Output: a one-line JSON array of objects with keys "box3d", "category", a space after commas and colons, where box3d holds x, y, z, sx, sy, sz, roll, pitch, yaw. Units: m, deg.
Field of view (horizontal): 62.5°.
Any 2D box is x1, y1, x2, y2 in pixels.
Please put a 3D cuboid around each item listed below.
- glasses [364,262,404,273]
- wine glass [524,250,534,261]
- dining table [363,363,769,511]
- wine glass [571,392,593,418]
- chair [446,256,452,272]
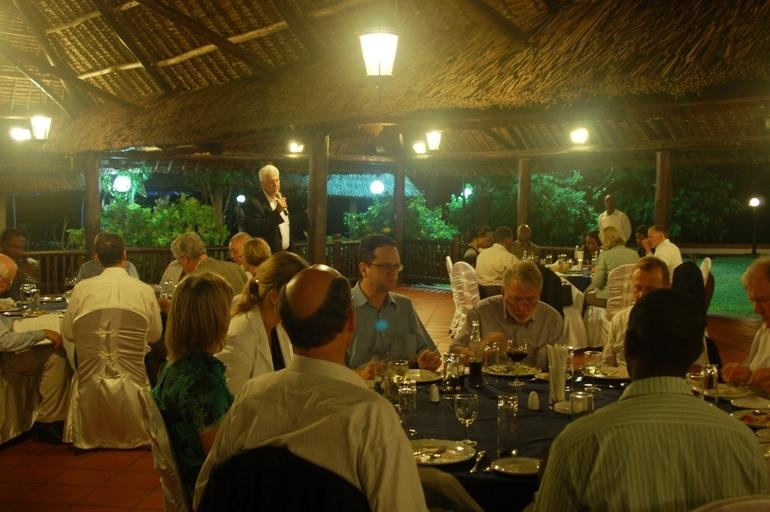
[{"box3d": [0.012, 0.084, 5.065, 0.300, 0.069, 0.139, 0, 4, -21], "category": "glasses"}, {"box3d": [2.455, -0.007, 10.820, 0.177, 0.174, 0.095, 1, -10, -8], "category": "wine glass"}, {"box3d": [0.895, 0.778, 3.259, 0.941, 0.632, 1.780, -1, 4, -27], "category": "dining table"}, {"box3d": [1.150, 0.868, 3.711, 0.129, 0.142, 0.135, -1, 0, -14], "category": "wine glass"}, {"box3d": [1.185, 0.135, 11.821, 0.122, 0.324, 0.229, -10, 18, 4], "category": "chair"}]
